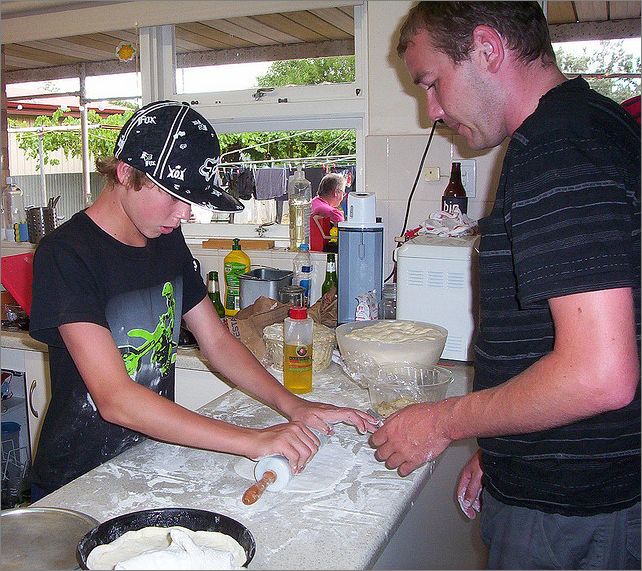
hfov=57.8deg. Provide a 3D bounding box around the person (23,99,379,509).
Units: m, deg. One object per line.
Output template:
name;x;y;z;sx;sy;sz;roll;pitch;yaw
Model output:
person;-0.252;-0.024;1.243;0.603;0.713;0.497;4;11;15

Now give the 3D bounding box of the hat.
hat;-0.369;-0.308;1.260;0.333;0.180;0.236;-9;-5;43

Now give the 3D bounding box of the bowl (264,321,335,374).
bowl;-0.065;0.209;1.823;0.270;0.136;0.297;6;-15;1

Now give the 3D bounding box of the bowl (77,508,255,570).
bowl;-0.231;0.381;0.862;0.116;0.020;0.117;5;10;-1

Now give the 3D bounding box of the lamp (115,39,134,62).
lamp;-1.049;-1.275;3.108;0.090;0.119;0.198;-3;11;-20
